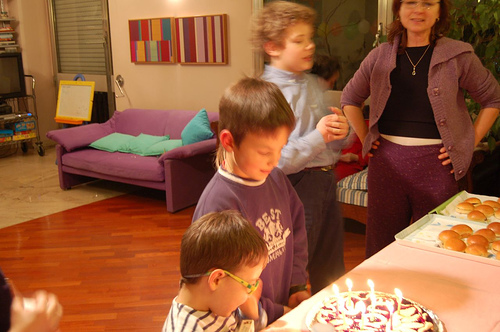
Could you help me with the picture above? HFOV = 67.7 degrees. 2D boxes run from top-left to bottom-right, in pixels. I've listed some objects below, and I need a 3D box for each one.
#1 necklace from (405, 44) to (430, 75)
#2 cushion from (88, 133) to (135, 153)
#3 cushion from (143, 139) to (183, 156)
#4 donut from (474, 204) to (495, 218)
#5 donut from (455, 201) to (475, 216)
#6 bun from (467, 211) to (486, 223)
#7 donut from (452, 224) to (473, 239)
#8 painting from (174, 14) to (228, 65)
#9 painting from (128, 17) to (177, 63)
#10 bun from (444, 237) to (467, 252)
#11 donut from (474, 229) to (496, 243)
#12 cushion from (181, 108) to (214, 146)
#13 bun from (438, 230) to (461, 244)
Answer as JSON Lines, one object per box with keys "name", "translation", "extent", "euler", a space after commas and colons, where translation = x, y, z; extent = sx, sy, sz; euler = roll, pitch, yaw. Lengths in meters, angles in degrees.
{"name": "necklace", "translation": [0.948, -0.599, 2.100], "extent": [0.182, 0.203, 0.008], "euler": [7, 20, 18]}
{"name": "cushion", "translation": [-2.084, -0.356, 5.491], "extent": [0.379, 0.110, 0.400], "euler": [11, 32, 22]}
{"name": "cushion", "translation": [-1.185, -0.262, 5.045], "extent": [0.304, 0.097, 0.325], "euler": [-12, 9, 15]}
{"name": "donut", "translation": [1.196, 0.221, 1.887], "extent": [0.066, 0.042, 0.076], "euler": [14, 13, 36]}
{"name": "donut", "translation": [1.106, 0.211, 1.914], "extent": [0.069, 0.042, 0.069], "euler": [3, 15, 36]}
{"name": "bun", "translation": [1.122, 0.248, 1.843], "extent": [0.083, 0.037, 0.065], "euler": [6, 19, 19]}
{"name": "donut", "translation": [0.978, 0.297, 1.708], "extent": [0.062, 0.037, 0.067], "euler": [-6, 10, 8]}
{"name": "painting", "translation": [-0.733, -1.841, 5.428], "extent": [0.890, 0.662, 0.086], "euler": [9, 21, 29]}
{"name": "painting", "translation": [-1.502, -1.981, 5.789], "extent": [0.770, 0.545, 0.084], "euler": [10, 17, 32]}
{"name": "bun", "translation": [0.874, 0.335, 1.588], "extent": [0.059, 0.029, 0.059], "euler": [-4, 12, -1]}
{"name": "donut", "translation": [1.059, 0.306, 1.681], "extent": [0.062, 0.039, 0.071], "euler": [-11, 15, -22]}
{"name": "cushion", "translation": [-0.714, -0.502, 4.924], "extent": [0.405, 0.435, 0.396], "euler": [-4, 19, -10]}
{"name": "bun", "translation": [0.874, 0.309, 1.655], "extent": [0.062, 0.035, 0.059], "euler": [0, 4, 34]}
